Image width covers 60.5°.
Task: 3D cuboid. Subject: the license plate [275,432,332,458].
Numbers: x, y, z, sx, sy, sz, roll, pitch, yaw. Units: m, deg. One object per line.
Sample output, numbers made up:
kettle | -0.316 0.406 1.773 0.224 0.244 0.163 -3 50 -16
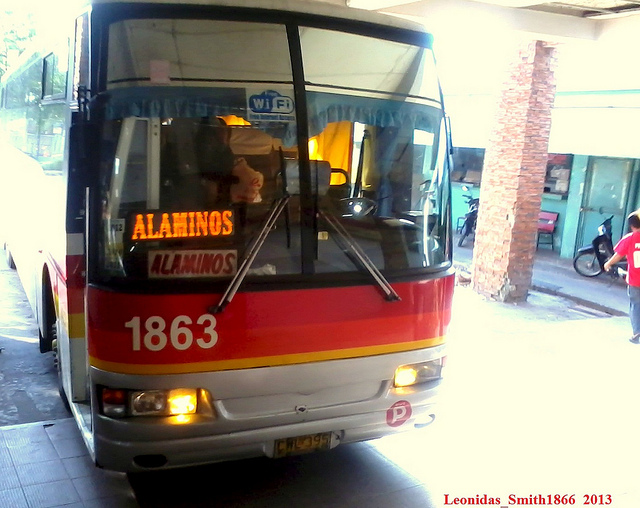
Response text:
license plate | -0.146 1.405 4.029 0.306 0.108 0.224 -3 6 -24
